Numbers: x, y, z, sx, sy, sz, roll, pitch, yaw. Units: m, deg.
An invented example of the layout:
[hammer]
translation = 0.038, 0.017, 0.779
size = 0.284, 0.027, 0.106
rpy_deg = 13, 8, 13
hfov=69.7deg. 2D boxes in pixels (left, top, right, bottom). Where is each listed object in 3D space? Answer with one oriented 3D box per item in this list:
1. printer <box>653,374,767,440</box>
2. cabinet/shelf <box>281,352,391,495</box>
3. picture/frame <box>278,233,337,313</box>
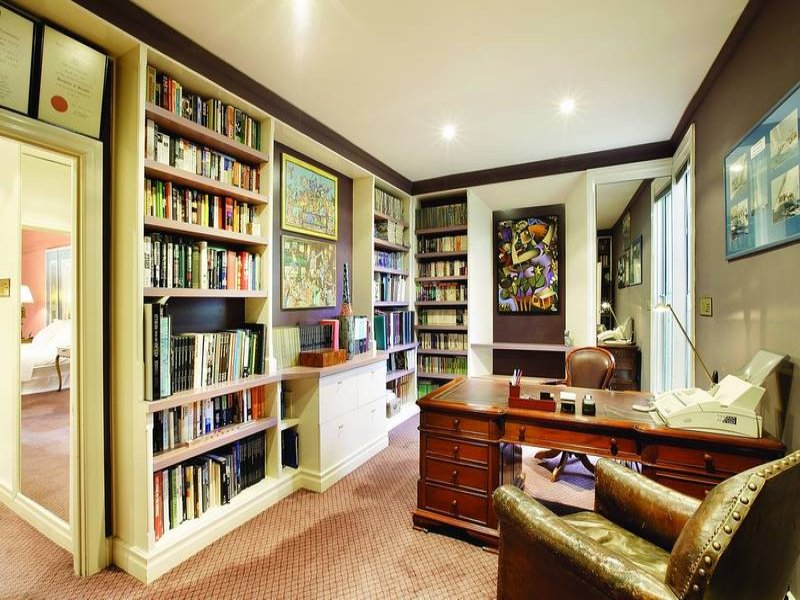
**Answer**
[printer]
translation = 1.971, 0.696, 3.650
size = 0.412, 0.307, 0.444
rpy_deg = 2, -5, 25
[cabinet/shelf]
translation = -0.512, 1.046, 5.247
size = 0.379, 0.996, 1.075
rpy_deg = 2, 8, 30
[picture/frame]
translation = -0.856, -0.255, 5.299
size = 0.023, 0.608, 0.691
rpy_deg = 0, -1, 25
